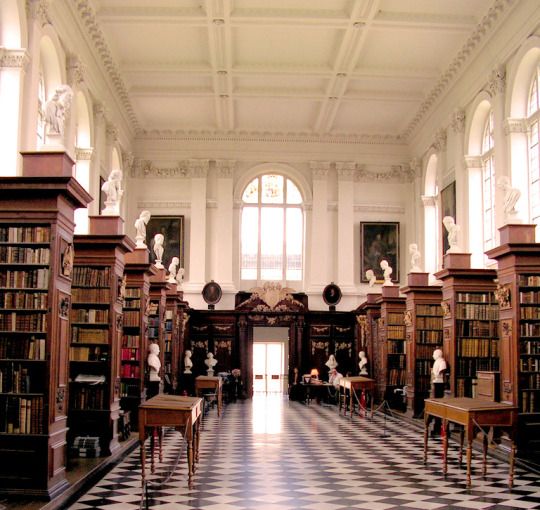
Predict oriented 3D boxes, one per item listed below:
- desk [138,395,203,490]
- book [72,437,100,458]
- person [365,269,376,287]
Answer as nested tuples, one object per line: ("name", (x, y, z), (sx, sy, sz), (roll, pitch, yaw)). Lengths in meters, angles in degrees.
("desk", (-1.158, 2.208, 6.366), (0.417, 0.820, 1.252), (0, -6, -1))
("book", (-2.379, 2.487, 7.041), (0.238, 0.189, 0.260), (2, -8, -3))
("person", (3.517, 0.859, 19.164), (0.378, 0.800, 0.514), (3, 6, 36))
